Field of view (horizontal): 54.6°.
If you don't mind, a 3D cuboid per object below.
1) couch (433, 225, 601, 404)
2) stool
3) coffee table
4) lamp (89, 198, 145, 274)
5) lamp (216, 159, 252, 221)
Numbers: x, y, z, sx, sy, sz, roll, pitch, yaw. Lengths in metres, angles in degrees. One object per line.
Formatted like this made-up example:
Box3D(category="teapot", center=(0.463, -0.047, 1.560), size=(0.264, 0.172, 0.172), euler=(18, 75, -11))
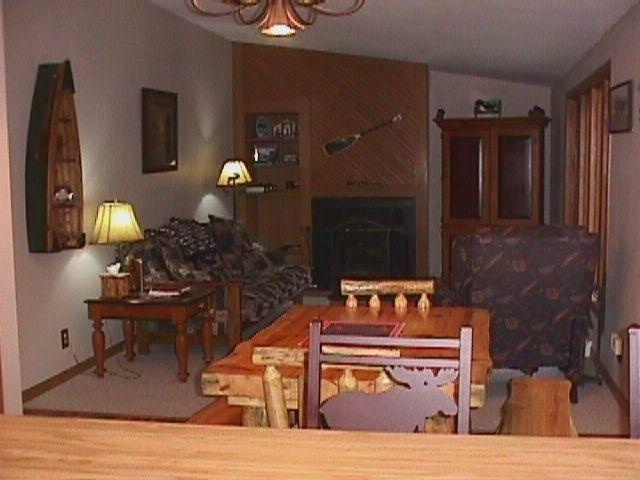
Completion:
Box3D(category="couch", center=(1.456, 0.333, 4.429), size=(1.053, 1.182, 0.895), euler=(-3, 17, 26))
Box3D(category="stool", center=(0.779, 0.607, 2.143), size=(0.255, 0.202, 0.160), euler=(-9, -41, 31))
Box3D(category="coffee table", center=(-1.259, 0.698, 4.815), size=(0.831, 0.688, 0.663), euler=(1, 0, 11))
Box3D(category="lamp", center=(-1.542, -0.112, 4.699), size=(0.402, 0.387, 0.378), euler=(-1, -9, -34))
Box3D(category="lamp", center=(-1.085, -0.602, 7.489), size=(0.379, 0.690, 0.938), euler=(0, 0, -17))
